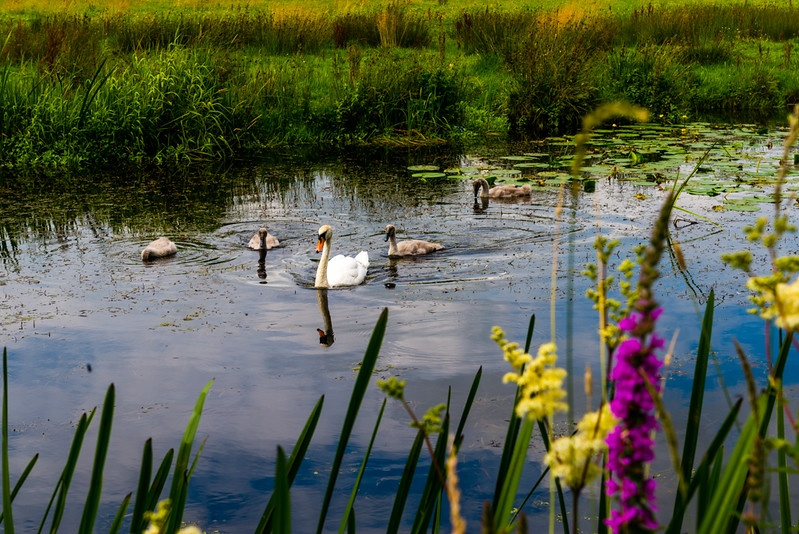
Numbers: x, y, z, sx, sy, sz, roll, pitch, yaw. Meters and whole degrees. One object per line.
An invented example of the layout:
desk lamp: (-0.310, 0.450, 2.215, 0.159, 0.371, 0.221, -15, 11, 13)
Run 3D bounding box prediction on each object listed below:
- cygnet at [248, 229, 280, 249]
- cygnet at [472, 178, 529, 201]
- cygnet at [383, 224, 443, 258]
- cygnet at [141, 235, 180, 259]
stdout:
cygnet: (-1.642, -0.347, 11.220, 0.201, 0.156, 0.396, 0, 13, -6)
cygnet: (1.514, -1.115, 13.360, 0.693, 0.375, 0.361, -2, 42, 0)
cygnet: (0.166, -0.325, 11.147, 0.716, 0.450, 0.271, -11, 7, -30)
cygnet: (-2.797, -0.200, 10.785, 0.223, 0.152, 0.366, -9, 24, 9)
